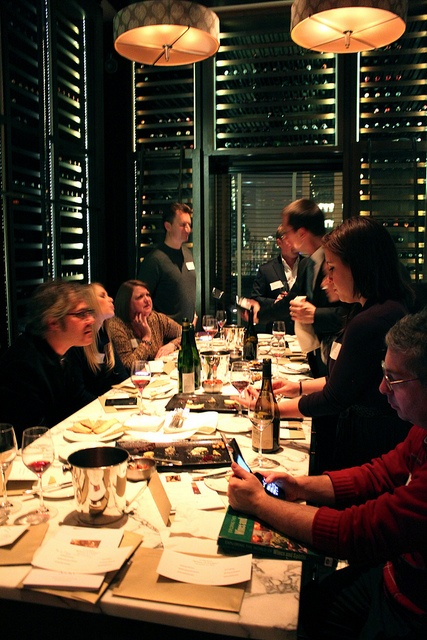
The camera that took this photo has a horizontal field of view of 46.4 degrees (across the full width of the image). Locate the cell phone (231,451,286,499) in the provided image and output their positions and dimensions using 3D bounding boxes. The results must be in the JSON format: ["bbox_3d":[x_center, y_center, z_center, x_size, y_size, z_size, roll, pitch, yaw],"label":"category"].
[{"bbox_3d":[0.109,0.387,1.241,0.160,0.019,0.063,41,-5,-27],"label":"cell phone"}]

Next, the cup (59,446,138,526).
[{"bbox_3d":[-0.248,0.363,1.081,0.147,0.113,0.145,0,-1,0],"label":"cup"}]

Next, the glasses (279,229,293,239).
[{"bbox_3d":[0.572,-0.668,3.994,0.128,0.064,0.176,0,0,6],"label":"glasses"}]

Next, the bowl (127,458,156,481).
[{"bbox_3d":[-0.199,0.394,1.329,0.054,0.027,0.056,2,2,0],"label":"bowl"}]
